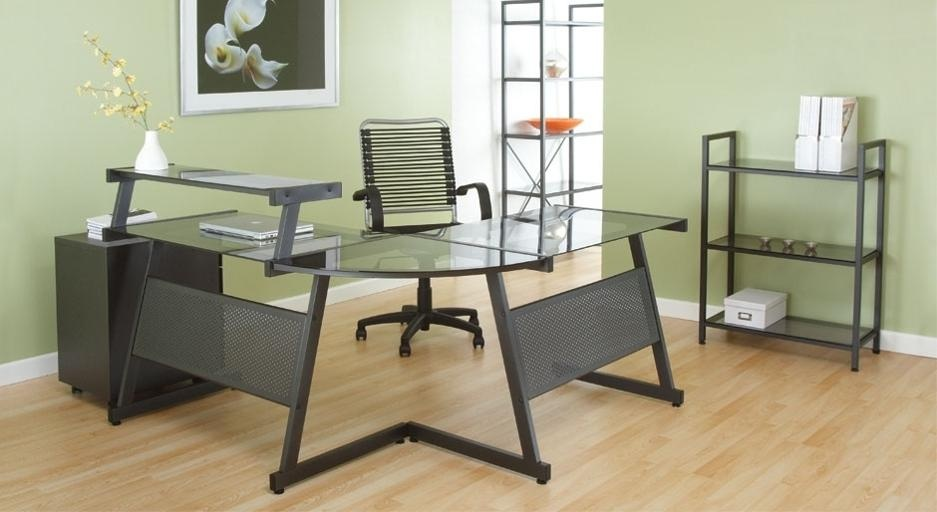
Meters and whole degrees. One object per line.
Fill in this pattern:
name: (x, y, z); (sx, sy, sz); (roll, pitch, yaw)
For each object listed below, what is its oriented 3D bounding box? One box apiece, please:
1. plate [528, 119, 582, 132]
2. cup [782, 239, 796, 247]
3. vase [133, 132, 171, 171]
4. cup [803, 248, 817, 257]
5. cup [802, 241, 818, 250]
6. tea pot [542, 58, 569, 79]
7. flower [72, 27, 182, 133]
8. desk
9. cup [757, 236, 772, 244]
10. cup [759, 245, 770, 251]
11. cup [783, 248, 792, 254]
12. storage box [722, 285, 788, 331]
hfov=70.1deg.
plate: (0.894, -1.354, 6.840); (0.296, 0.063, 0.301); (5, 8, 44)
cup: (2.326, -0.106, 4.845); (0.073, 0.041, 0.069); (-2, 9, 0)
vase: (-2.060, -0.694, 4.289); (0.253, 0.199, 0.219); (0, -7, -3)
cup: (2.432, -0.041, 4.748); (0.068, 0.059, 0.111); (-13, 15, -37)
cup: (2.461, -0.085, 4.789); (0.073, 0.043, 0.078); (0, 5, 0)
tea pot: (0.885, -1.887, 6.689); (0.258, 0.139, 0.222); (-1, 7, 0)
flower: (-2.346, -1.188, 4.528); (0.550, 0.693, 0.537); (-8, 18, -19)
desk: (-0.084, 0.459, 4.257); (2.669, 1.208, 2.543); (7, 11, 41)
cup: (2.202, -0.129, 4.923); (0.116, 0.078, 0.063); (3, 9, 29)
cup: (2.169, -0.068, 4.863); (0.064, 0.046, 0.057); (0, 7, 2)
cup: (2.302, -0.048, 4.786); (0.063, 0.046, 0.054); (1, 5, 15)
storage box: (2.172, 0.373, 5.022); (0.313, 0.150, 0.397); (10, 20, 39)
